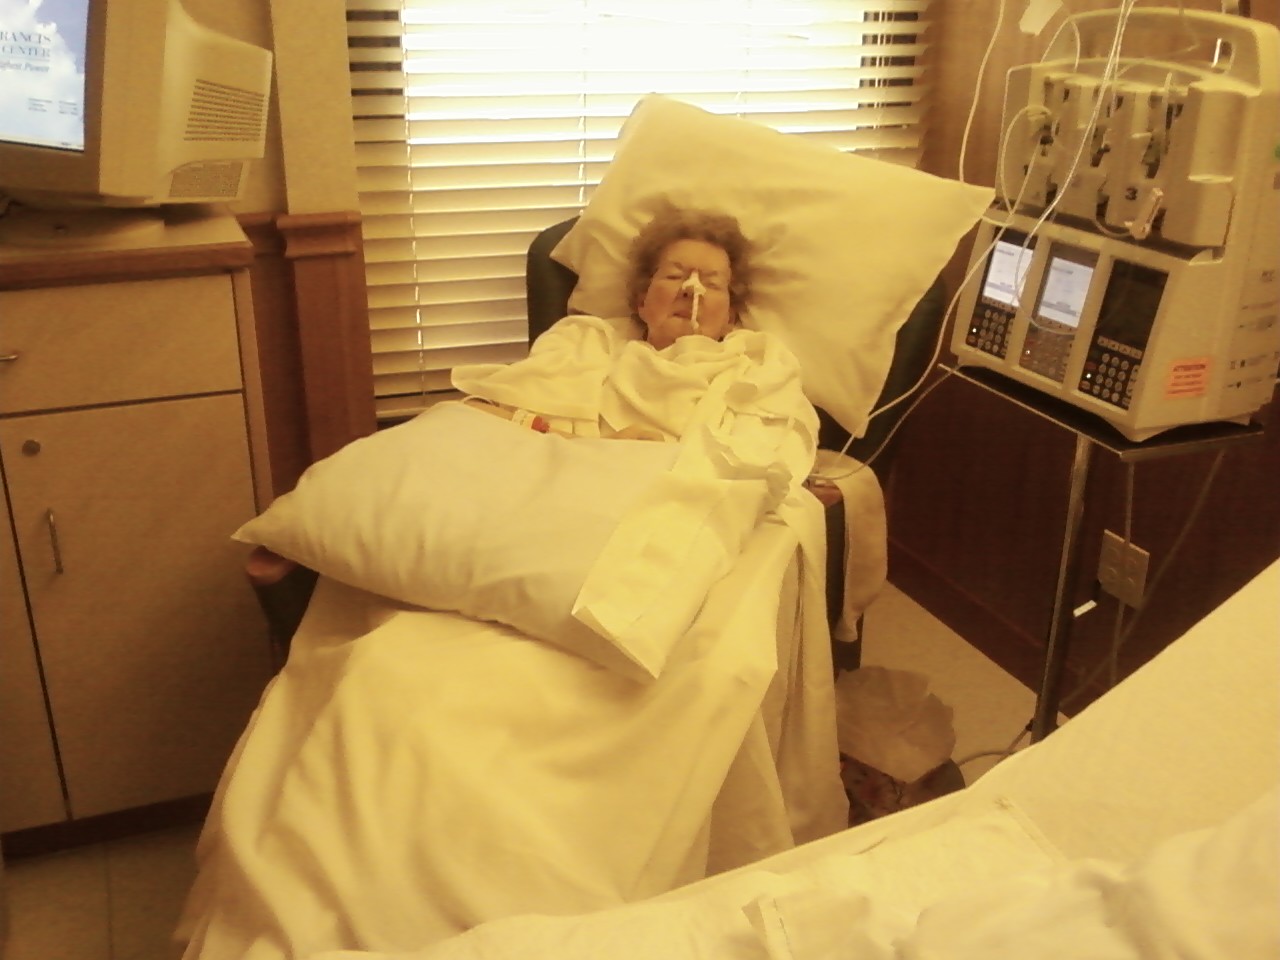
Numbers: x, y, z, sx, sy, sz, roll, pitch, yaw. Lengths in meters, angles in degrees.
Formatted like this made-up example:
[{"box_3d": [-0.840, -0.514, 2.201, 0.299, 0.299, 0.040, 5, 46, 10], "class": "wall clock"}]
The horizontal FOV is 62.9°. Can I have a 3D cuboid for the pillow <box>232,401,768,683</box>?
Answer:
[{"box_3d": [-0.199, 0.063, 1.619, 0.496, 0.160, 0.509, 15, 27, 18], "class": "pillow"}]

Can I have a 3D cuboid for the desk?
[{"box_3d": [0.761, 0.095, 1.796, 0.294, 0.684, 0.434, -19, 43, -23], "class": "desk"}]

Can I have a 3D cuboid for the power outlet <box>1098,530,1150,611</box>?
[{"box_3d": [0.849, 0.156, 1.830, 0.027, 0.112, 0.112, 3, 21, -20], "class": "power outlet"}]
